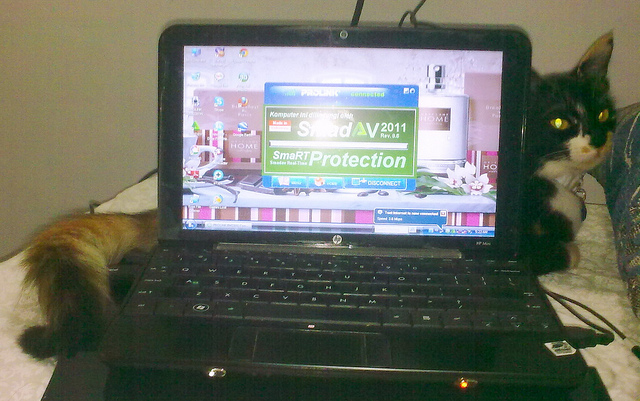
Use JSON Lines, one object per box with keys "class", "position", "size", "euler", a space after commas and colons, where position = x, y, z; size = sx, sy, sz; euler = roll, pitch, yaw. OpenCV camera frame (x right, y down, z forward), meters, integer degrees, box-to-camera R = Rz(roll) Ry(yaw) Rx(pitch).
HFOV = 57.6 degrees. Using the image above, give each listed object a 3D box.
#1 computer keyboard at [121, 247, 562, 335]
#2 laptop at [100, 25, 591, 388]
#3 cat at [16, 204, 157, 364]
{"class": "computer keyboard", "position": [0.038, 0.158, 1.053], "size": [0.751, 0.096, 0.141], "euler": [3, 9, 2]}
{"class": "laptop", "position": [0.032, -0.004, 0.982], "size": [0.781, 0.397, 0.506], "euler": [2, 30, 2]}
{"class": "cat", "position": [-0.449, 0.153, 1.120], "size": [0.193, 0.217, 0.306], "euler": [3, 9, 1]}
